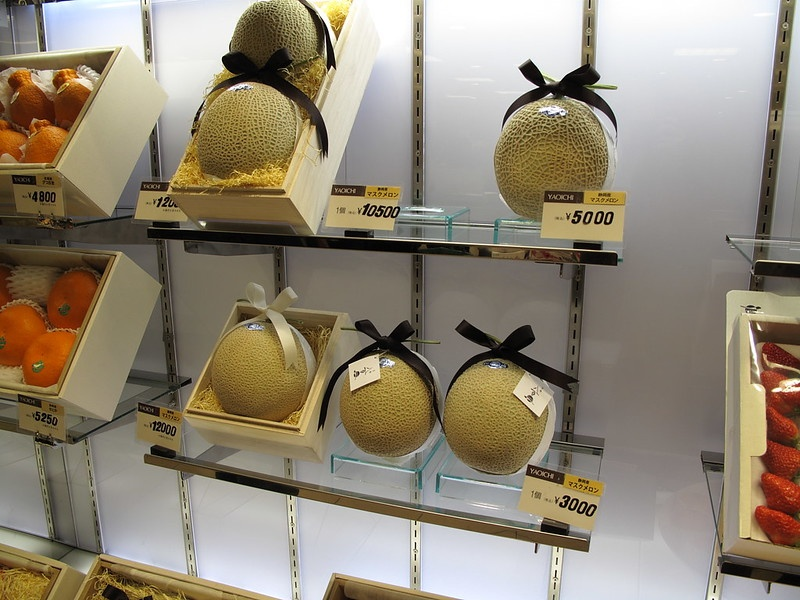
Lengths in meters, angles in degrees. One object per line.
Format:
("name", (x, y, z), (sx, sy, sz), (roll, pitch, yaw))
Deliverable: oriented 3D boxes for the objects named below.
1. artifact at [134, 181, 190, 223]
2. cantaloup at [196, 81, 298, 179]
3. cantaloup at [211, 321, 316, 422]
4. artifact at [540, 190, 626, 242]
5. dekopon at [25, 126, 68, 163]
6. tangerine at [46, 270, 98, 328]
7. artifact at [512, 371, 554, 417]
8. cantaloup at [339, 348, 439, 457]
("artifact", (-0.541, -0.223, 1.413), (0.039, 0.089, 0.122), (32, 24, 33))
("cantaloup", (-0.298, -0.302, 1.261), (0.169, 0.147, 0.181), (-11, 40, -7))
("cantaloup", (-0.293, 0.121, 1.306), (0.181, 0.207, 0.192), (0, 3, -23))
("artifact", (0.321, -0.147, 1.114), (0.137, 0.090, 0.047), (5, 8, 14))
("dekopon", (-0.790, -0.345, 1.398), (0.130, 0.086, 0.064), (7, 9, 24))
("tangerine", (-0.751, 0.009, 1.496), (0.119, 0.144, 0.073), (-1, -13, 35))
("artifact", (0.244, 0.176, 1.168), (0.075, 0.074, 0.020), (-48, 4, -37))
("cantaloup", (-0.043, 0.195, 1.260), (0.165, 0.206, 0.175), (21, 47, 32))
